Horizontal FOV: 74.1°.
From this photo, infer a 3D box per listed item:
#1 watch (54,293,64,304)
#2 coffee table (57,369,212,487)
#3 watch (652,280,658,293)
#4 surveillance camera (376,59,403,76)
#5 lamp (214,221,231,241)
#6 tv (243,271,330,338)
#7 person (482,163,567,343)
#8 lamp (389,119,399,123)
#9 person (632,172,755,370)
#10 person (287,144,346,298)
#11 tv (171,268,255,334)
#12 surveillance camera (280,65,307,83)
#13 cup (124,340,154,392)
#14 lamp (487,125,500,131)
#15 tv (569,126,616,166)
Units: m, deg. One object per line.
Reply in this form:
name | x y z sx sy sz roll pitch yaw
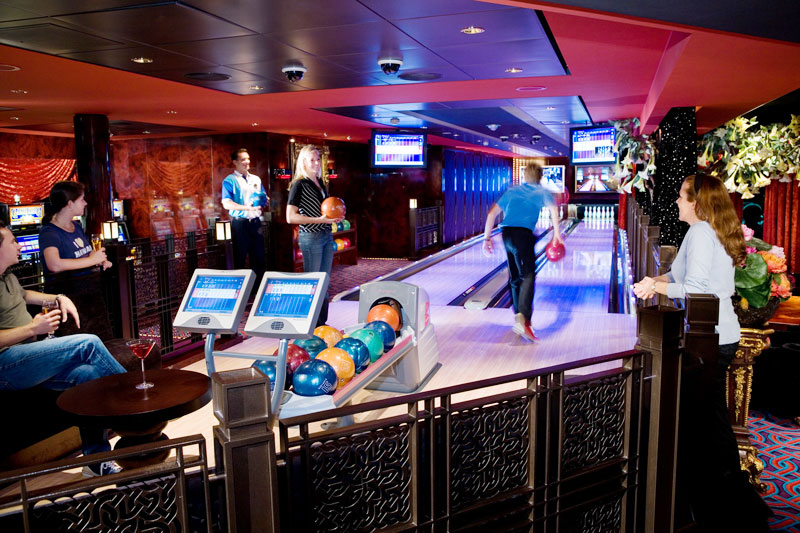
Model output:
watch | -2.406 0.228 3.725 0.066 0.085 0.029 -8 5 -33
coffee table | -1.379 0.852 2.811 0.766 0.383 0.754 -2 6 9
watch | 1.665 0.138 3.477 0.024 0.066 0.061 5 27 8
surveillance camera | -0.103 -1.910 5.058 0.179 0.100 0.179 4 17 17
lamp | -2.168 -0.432 6.501 0.179 0.228 0.240 -5 9 -20
tv | -0.577 0.201 2.727 0.366 0.381 0.089 -1 -27 23
person | 1.199 -0.162 5.277 0.745 1.708 0.780 0 8 14
lamp | -0.087 -2.766 10.180 0.099 0.065 0.095 0 0 25
person | 1.937 0.025 3.472 0.572 1.235 0.456 -6 9 -31
person | -0.792 -0.527 4.862 0.452 1.160 0.643 -3 8 -7
tv | -1.003 0.193 2.913 0.423 0.337 0.290 1 9 17
surveillance camera | -1.099 -1.984 5.498 0.212 0.114 0.219 15 25 42
cup | -1.398 0.537 2.913 0.212 0.245 0.204 -7 -9 -1
lamp | 2.023 -2.997 11.440 0.177 0.078 0.172 -1 5 -4
tv | 3.401 -2.110 9.275 0.751 0.626 0.271 0 -3 22
